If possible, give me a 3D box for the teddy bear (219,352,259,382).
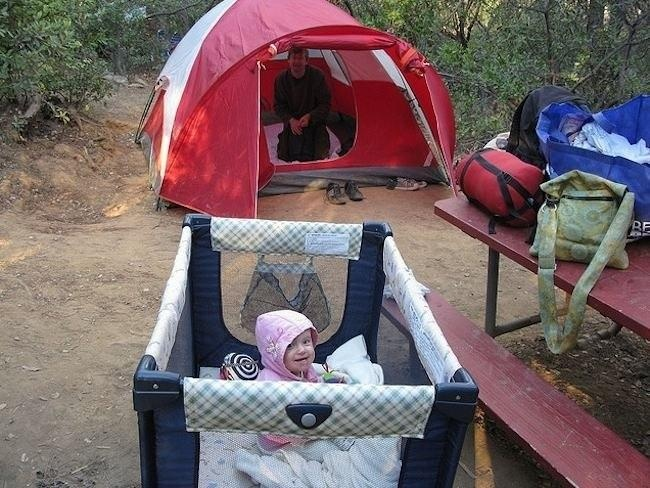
[{"bbox_3d":[-0.422,0.598,2.753,0.178,0.141,0.163,9,-9,-41],"label":"teddy bear"}]

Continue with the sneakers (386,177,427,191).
[{"bbox_3d":[0.929,-0.693,6.374,0.301,0.102,0.204,0,14,-3],"label":"sneakers"}]

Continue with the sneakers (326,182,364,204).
[{"bbox_3d":[0.189,-0.571,6.052,0.274,0.119,0.332,-9,24,-23],"label":"sneakers"}]

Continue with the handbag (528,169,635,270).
[{"bbox_3d":[1.348,-0.114,2.810,0.511,0.499,0.202,4,-1,14],"label":"handbag"}]

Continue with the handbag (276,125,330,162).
[{"bbox_3d":[-0.238,-1.159,6.341,0.389,0.531,0.206,2,0,4],"label":"handbag"}]
